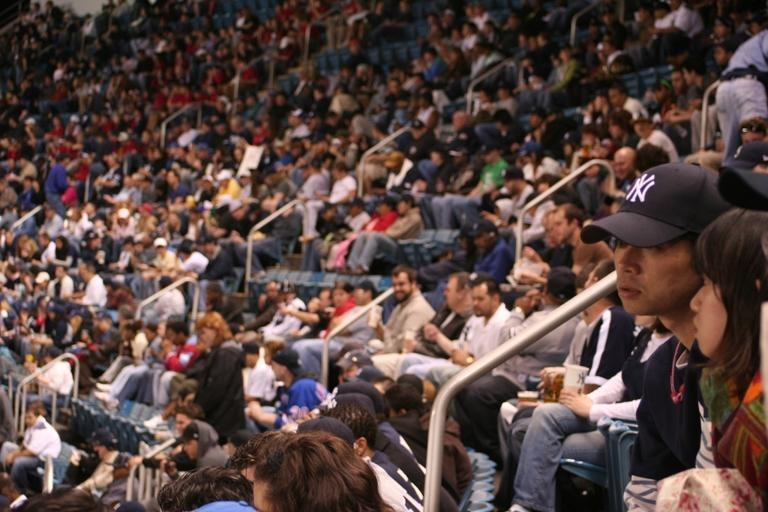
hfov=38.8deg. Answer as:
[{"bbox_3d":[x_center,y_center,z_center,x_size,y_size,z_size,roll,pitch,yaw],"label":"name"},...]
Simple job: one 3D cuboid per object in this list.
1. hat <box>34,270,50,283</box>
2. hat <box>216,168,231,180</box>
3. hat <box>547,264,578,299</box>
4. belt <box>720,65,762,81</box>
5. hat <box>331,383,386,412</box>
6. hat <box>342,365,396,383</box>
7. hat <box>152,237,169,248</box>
[{"bbox_3d":[-5.204,0.319,16.615,0.159,0.204,0.206,-15,41,6],"label":"hat"},{"bbox_3d":[-2.464,-1.264,16.930,0.282,0.172,0.254,-16,3,-5],"label":"hat"},{"bbox_3d":[1.775,0.285,10.925,0.312,0.291,0.234,-15,4,13],"label":"hat"},{"bbox_3d":[3.869,-1.965,11.771,0.267,0.122,0.204,1,-11,-7],"label":"belt"},{"bbox_3d":[-0.218,1.381,10.406,0.378,0.218,0.272,28,6,10],"label":"hat"},{"bbox_3d":[-0.171,1.277,11.647,0.343,0.119,0.226,2,-9,6],"label":"hat"},{"bbox_3d":[-3.256,-0.187,15.970,0.186,0.146,0.362,-16,3,-12],"label":"hat"}]
